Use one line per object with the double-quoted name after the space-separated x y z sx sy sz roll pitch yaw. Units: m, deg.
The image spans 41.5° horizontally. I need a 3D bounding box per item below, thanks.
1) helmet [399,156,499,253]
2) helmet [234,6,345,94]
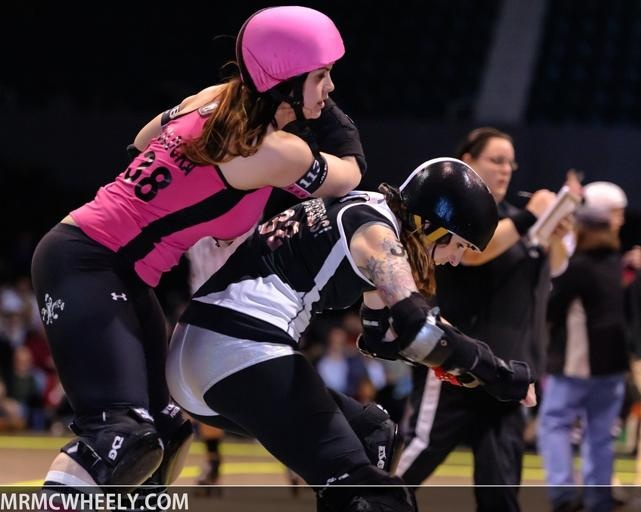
0.536 -0.214 3.617 0.407 0.341 0.305 29 -5 9 "helmet"
-0.102 -0.884 3.636 0.436 0.340 0.321 1 12 11 "helmet"
